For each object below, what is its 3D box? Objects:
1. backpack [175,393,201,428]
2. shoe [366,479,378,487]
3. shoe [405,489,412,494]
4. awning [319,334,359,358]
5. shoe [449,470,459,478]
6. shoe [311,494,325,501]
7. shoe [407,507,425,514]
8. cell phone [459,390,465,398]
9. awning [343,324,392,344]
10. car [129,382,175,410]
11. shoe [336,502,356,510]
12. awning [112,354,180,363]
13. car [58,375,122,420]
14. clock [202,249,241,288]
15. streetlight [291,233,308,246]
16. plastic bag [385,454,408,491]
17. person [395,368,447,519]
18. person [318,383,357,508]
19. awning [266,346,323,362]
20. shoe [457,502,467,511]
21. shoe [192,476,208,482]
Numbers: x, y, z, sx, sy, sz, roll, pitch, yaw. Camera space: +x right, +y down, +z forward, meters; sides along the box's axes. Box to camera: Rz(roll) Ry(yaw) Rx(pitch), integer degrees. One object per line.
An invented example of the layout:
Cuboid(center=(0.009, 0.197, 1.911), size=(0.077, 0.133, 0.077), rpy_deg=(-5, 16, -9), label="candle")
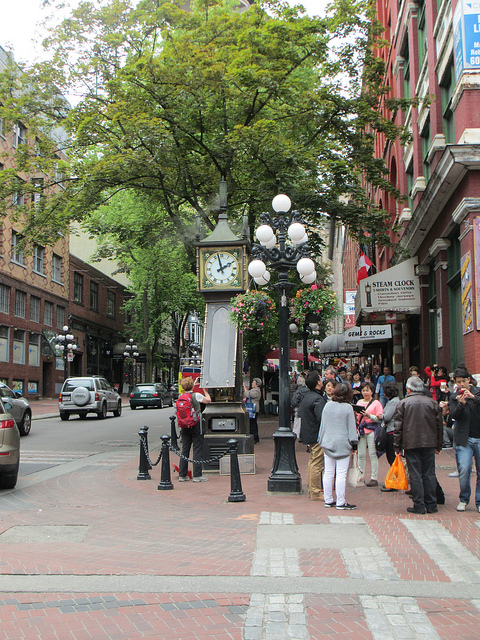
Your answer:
Cuboid(center=(-0.821, 1.450, 10.780), size=(0.375, 0.554, 0.301), rpy_deg=(1, -4, -7), label="backpack")
Cuboid(center=(2.034, 2.541, 10.529), size=(0.213, 0.126, 0.069), rpy_deg=(2, -2, 8), label="shoe")
Cuboid(center=(2.391, 2.468, 9.741), size=(0.068, 0.083, 0.274), rpy_deg=(-1, -5, 10), label="shoe")
Cuboid(center=(4.965, 1.584, 34.047), size=(1.601, 0.980, 1.568), rpy_deg=(-5, 3, -5), label="awning")
Cuboid(center=(3.443, 2.503, 10.978), size=(0.127, 0.047, 0.125), rpy_deg=(0, 0, -39), label="shoe")
Cuboid(center=(1.043, 2.418, 9.214), size=(0.168, 0.055, 0.208), rpy_deg=(-1, -5, 7), label="shoe")
Cuboid(center=(2.096, 2.278, 8.145), size=(0.182, 0.074, 0.061), rpy_deg=(14, 14, 38), label="shoe")
Cuboid(center=(2.684, 0.909, 8.280), size=(0.046, 0.096, 0.100), rpy_deg=(-1, -16, 29), label="cell phone")
Cuboid(center=(4.804, 0.496, 25.739), size=(1.712, 0.621, 0.994), rpy_deg=(-1, -5, 9), label="awning")
Cuboid(center=(-4.753, 4.112, 37.451), size=(1.154, 0.867, 2.644), rpy_deg=(-1, 0, 8), label="car")
Cuboid(center=(1.300, 2.315, 8.442), size=(0.262, 0.105, 0.086), rpy_deg=(-1, -3, -4), label="shoe")
Cuboid(center=(-8.643, 3.764, 65.441), size=(4.235, 0.856, 16.193), rpy_deg=(0, -5, 2), label="awning")
Cuboid(center=(-5.767, 2.995, 26.635), size=(1.274, 1.088, 2.710), rpy_deg=(-1, -1, 9), label="car")
Cuboid(center=(-0.361, -0.996, 13.750), size=(0.830, 0.798, 0.060), rpy_deg=(-2, -17, 6), label="clock")
Cuboid(center=(0.921, -1.228, 10.395), size=(0.188, 0.182, 0.177), rpy_deg=(13, -8, -7), label="streetlight")
Cuboid(center=(1.983, 1.963, 8.700), size=(0.247, 0.473, 0.431), rpy_deg=(-1, -5, 12), label="plastic bag")
Cuboid(center=(2.246, 1.543, 8.542), size=(0.584, 1.672, 0.517), rpy_deg=(-2, -11, 10), label="person")
Cuboid(center=(1.217, 1.589, 8.682), size=(0.482, 1.540, 0.479), rpy_deg=(-3, -5, 32), label="person")
Cuboid(center=(1.912, 1.209, 24.159), size=(1.453, 0.701, 1.999), rpy_deg=(0, -7, 9), label="awning")
Cuboid(center=(2.692, 2.292, 8.317), size=(0.095, 0.099, 0.163), rpy_deg=(-1, -5, 17), label="shoe")
Cuboid(center=(-0.653, 2.610, 11.182), size=(0.238, 0.110, 0.093), rpy_deg=(-2, 2, -14), label="shoe")
